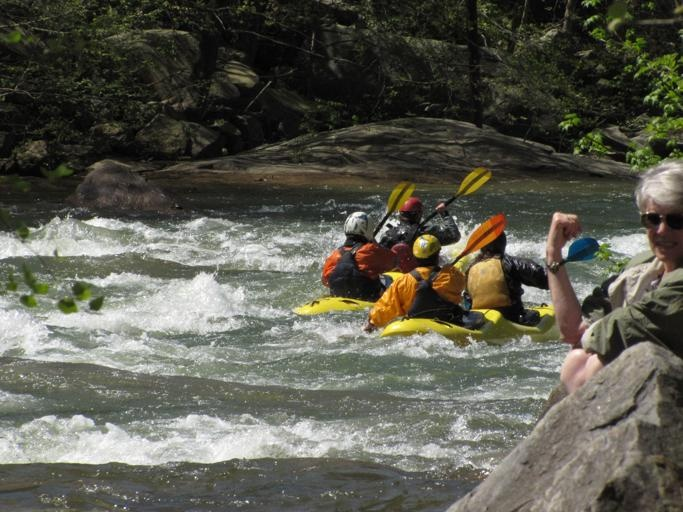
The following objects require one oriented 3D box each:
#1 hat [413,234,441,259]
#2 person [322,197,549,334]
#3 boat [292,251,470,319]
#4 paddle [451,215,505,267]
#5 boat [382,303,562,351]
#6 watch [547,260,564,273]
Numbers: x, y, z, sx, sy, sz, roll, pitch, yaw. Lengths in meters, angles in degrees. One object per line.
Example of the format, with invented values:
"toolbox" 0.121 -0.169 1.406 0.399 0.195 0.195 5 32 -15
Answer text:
"hat" 0.846 -0.094 9.263 0.251 0.226 0.211 1 15 1
"person" 1.028 0.269 9.228 1.826 0.577 1.350 -16 10 -22
"boat" 0.602 0.293 10.662 2.458 0.297 0.745 -7 9 -42
"paddle" 1.335 -0.142 9.228 0.103 0.145 1.011 -22 -13 -36
"boat" 1.109 0.692 9.257 2.221 0.331 0.540 -1 -2 -17
"watch" 1.264 0.059 5.379 0.073 0.042 0.108 35 31 27
